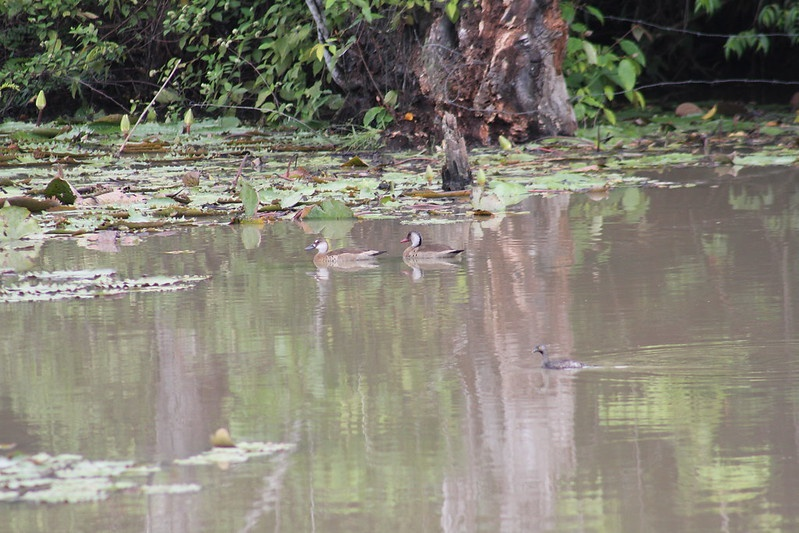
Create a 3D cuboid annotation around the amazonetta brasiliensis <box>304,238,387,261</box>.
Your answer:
[{"bbox_3d":[-0.272,-0.084,6.236,0.509,0.158,0.133,0,-10,2],"label":"amazonetta brasiliensis"}]

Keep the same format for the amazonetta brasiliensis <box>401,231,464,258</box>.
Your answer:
[{"bbox_3d":[0.174,-0.122,6.221,0.324,0.151,0.184,-4,3,1],"label":"amazonetta brasiliensis"}]
